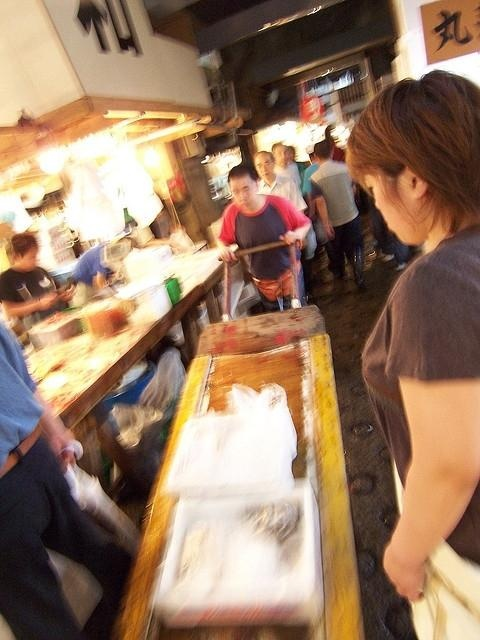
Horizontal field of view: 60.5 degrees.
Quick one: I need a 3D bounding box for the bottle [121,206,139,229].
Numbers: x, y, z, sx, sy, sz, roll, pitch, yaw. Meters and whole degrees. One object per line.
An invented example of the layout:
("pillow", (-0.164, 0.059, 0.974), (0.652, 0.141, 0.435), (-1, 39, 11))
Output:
("bottle", (-1.407, -1.271, 5.242), (0.131, 0.294, 0.532), (-24, 22, -5))
